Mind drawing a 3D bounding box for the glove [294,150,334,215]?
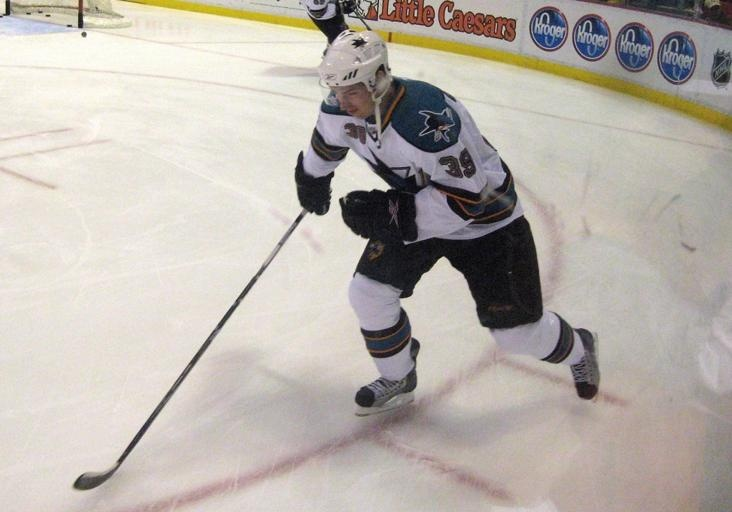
[{"bbox_3d":[-0.285,-0.397,3.236,0.235,0.310,0.168,10,9,44],"label":"glove"}]

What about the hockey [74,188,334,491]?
[{"bbox_3d":[-0.894,0.480,3.319,0.269,0.155,1.933,-17,30,55],"label":"hockey"}]

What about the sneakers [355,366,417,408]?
[{"bbox_3d":[0.091,0.673,3.072,0.385,0.170,0.126,-13,14,-26],"label":"sneakers"}]

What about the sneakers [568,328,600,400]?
[{"bbox_3d":[1.139,0.553,3.143,0.133,0.384,0.169,-6,-1,40],"label":"sneakers"}]

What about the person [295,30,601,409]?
[{"bbox_3d":[0.245,-0.107,2.894,1.485,1.749,0.691,20,28,28],"label":"person"}]
